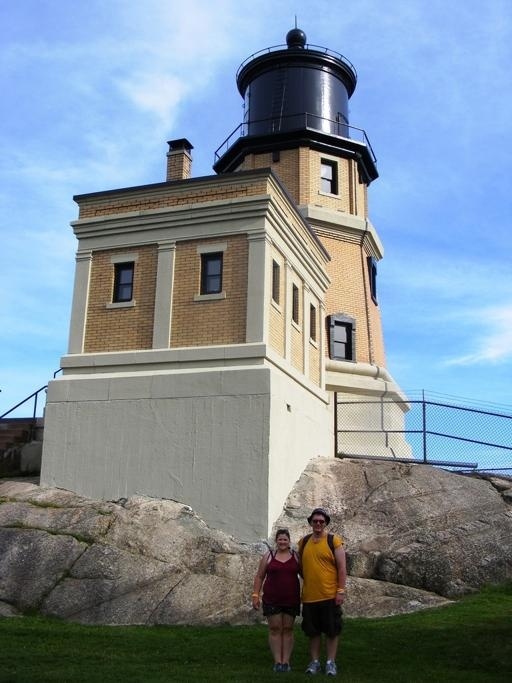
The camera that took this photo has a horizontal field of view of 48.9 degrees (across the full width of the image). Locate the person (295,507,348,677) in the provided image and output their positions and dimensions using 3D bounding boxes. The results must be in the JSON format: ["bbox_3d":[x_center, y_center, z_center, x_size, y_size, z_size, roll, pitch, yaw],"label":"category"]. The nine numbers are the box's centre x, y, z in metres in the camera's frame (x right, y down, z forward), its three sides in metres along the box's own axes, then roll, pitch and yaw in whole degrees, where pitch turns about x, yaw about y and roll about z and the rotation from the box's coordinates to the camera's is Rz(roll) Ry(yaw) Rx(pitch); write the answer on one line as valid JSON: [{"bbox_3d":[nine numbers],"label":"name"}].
[{"bbox_3d":[0.627,2.363,5.361,0.415,1.472,0.510,2,-13,-3],"label":"person"}]

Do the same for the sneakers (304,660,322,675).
[{"bbox_3d":[0.531,3.009,5.223,0.071,0.089,0.211,-3,-18,16],"label":"sneakers"}]

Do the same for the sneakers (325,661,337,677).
[{"bbox_3d":[0.672,2.960,5.107,0.060,0.074,0.177,-4,-22,9],"label":"sneakers"}]
